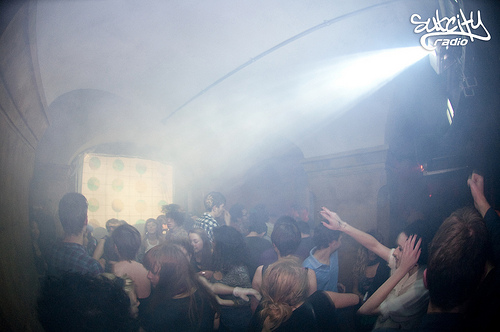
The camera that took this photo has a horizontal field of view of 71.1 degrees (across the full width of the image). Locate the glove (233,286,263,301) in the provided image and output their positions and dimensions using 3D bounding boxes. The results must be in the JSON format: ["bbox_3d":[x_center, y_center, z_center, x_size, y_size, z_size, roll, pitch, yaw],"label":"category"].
[{"bbox_3d":[-0.038,1.482,4.067,0.365,0.139,0.113,9,-13,-1],"label":"glove"}]
